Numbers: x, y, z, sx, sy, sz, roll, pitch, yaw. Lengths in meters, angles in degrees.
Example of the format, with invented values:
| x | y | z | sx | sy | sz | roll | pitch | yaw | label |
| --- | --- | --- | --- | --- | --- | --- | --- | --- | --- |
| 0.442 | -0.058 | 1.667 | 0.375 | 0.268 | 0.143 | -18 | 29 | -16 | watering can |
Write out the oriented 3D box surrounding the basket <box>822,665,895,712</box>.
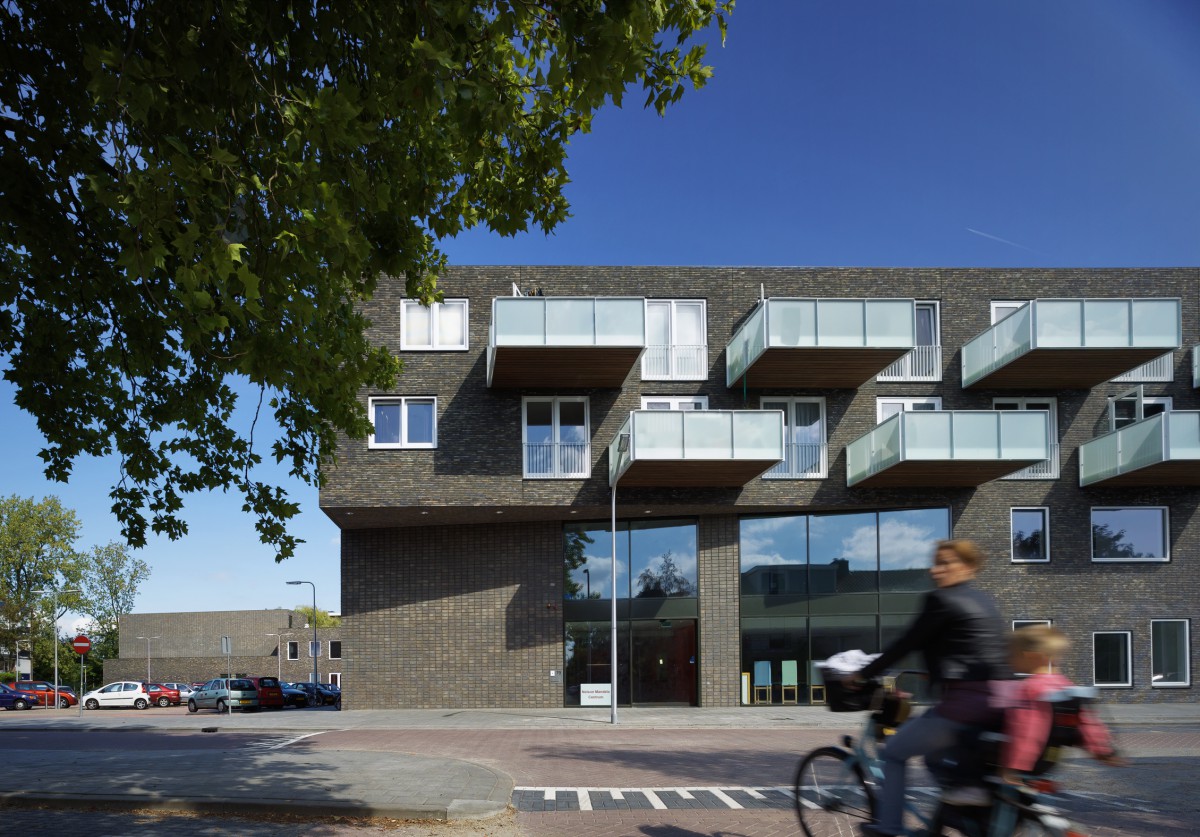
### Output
| x | y | z | sx | sy | sz | roll | pitch | yaw | label |
| --- | --- | --- | --- | --- | --- | --- | --- | --- | --- |
| 3.492 | 3.722 | 21.357 | 0.712 | 0.588 | 0.560 | -7 | -10 | 25 | basket |

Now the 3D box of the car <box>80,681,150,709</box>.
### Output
| x | y | z | sx | sy | sz | roll | pitch | yaw | label |
| --- | --- | --- | --- | --- | --- | --- | --- | --- | --- |
| -17.046 | 9.795 | 55.043 | 1.829 | 0.795 | 1.025 | 6 | -11 | -10 | car |
